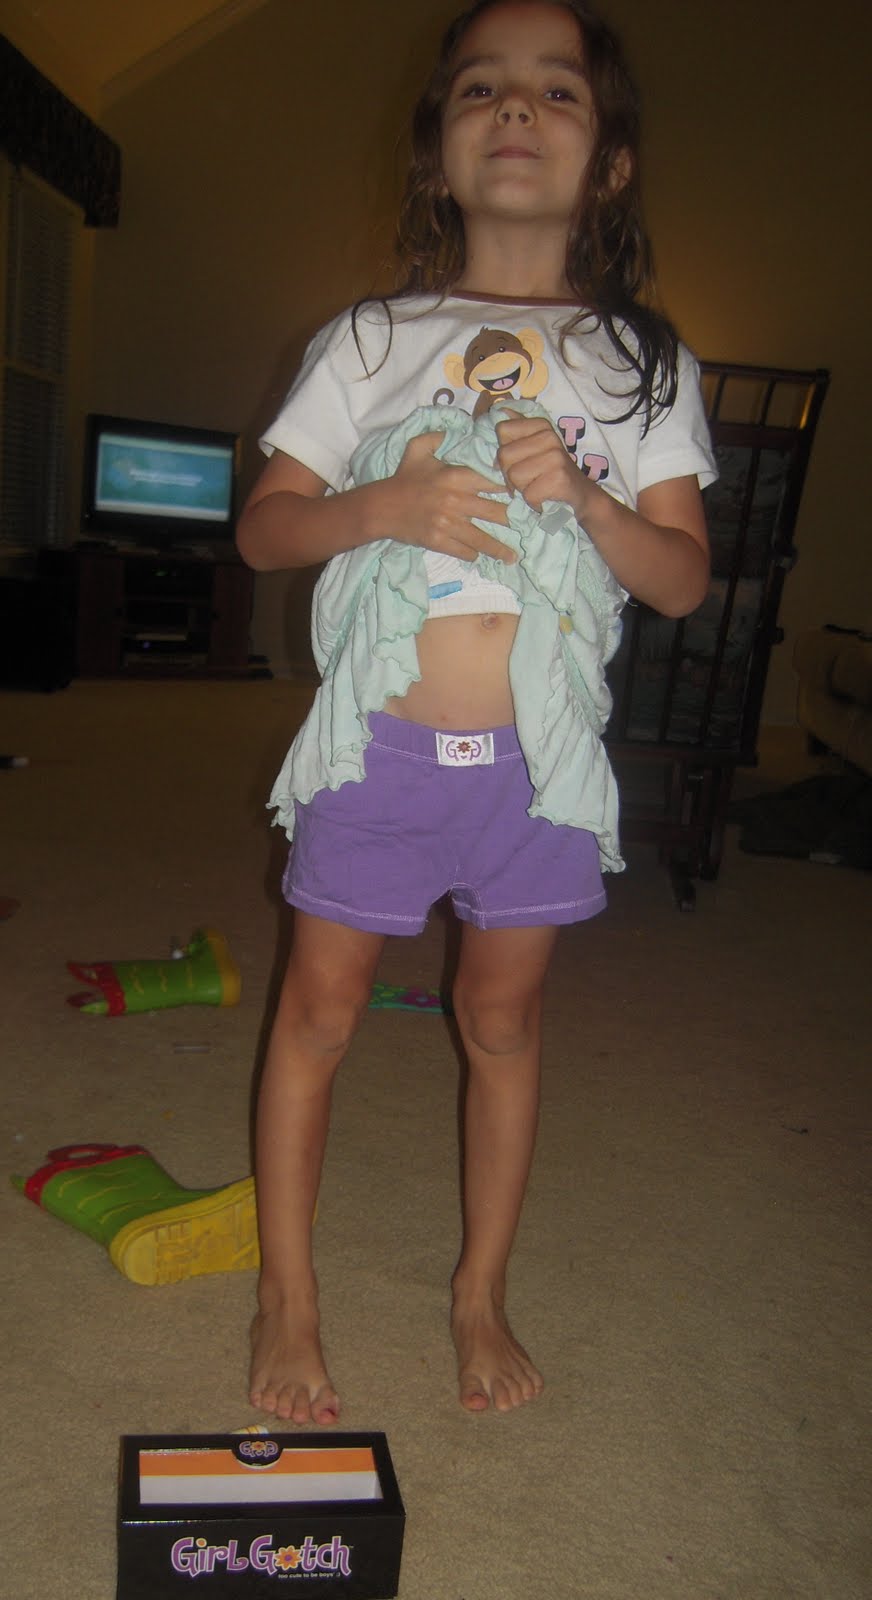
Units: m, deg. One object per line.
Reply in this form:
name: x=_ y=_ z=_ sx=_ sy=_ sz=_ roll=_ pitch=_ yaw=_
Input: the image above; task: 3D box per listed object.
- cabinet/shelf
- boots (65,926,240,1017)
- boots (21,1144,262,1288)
cabinet/shelf: x=-1.383 y=-0.904 z=5.907 sx=0.799 sy=0.617 sz=0.456 roll=0 pitch=3 yaw=-20
boots: x=-0.432 y=0.278 z=1.831 sx=0.175 sy=0.065 sz=0.135 roll=-6 pitch=22 yaw=-19
boots: x=-0.303 y=0.424 z=1.174 sx=0.234 sy=0.094 sz=0.147 roll=-2 pitch=20 yaw=-37
